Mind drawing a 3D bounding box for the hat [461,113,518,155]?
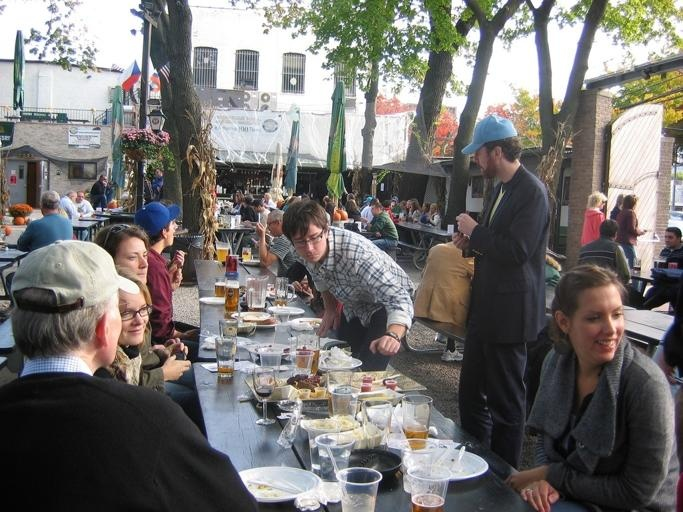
[{"bbox_3d":[1.052,-0.851,3.996,0.375,0.252,0.255,-15,9,20],"label":"hat"}]

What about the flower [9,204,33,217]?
[{"bbox_3d":[-7.606,-1.087,13.160,0.345,0.235,0.404,-1,-1,-5],"label":"flower"}]

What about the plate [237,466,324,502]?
[{"bbox_3d":[-0.236,0.852,2.076,0.306,0.072,0.188,4,4,-4],"label":"plate"}]

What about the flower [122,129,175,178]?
[{"bbox_3d":[-3.599,-1.888,10.342,0.755,0.562,0.795,2,2,0],"label":"flower"}]

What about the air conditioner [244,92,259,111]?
[{"bbox_3d":[-5.420,-9.429,33.218,0.642,1.200,1.251,5,5,22],"label":"air conditioner"}]

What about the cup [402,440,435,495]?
[{"bbox_3d":[0.314,0.793,2.104,0.147,0.171,0.160,1,-2,0],"label":"cup"}]

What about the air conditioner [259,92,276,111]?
[{"bbox_3d":[-4.464,-9.515,33.870,0.502,1.157,1.359,8,6,44],"label":"air conditioner"}]

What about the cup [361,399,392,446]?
[{"bbox_3d":[0.133,0.735,2.414,0.138,0.176,0.154,1,-9,-2],"label":"cup"}]
